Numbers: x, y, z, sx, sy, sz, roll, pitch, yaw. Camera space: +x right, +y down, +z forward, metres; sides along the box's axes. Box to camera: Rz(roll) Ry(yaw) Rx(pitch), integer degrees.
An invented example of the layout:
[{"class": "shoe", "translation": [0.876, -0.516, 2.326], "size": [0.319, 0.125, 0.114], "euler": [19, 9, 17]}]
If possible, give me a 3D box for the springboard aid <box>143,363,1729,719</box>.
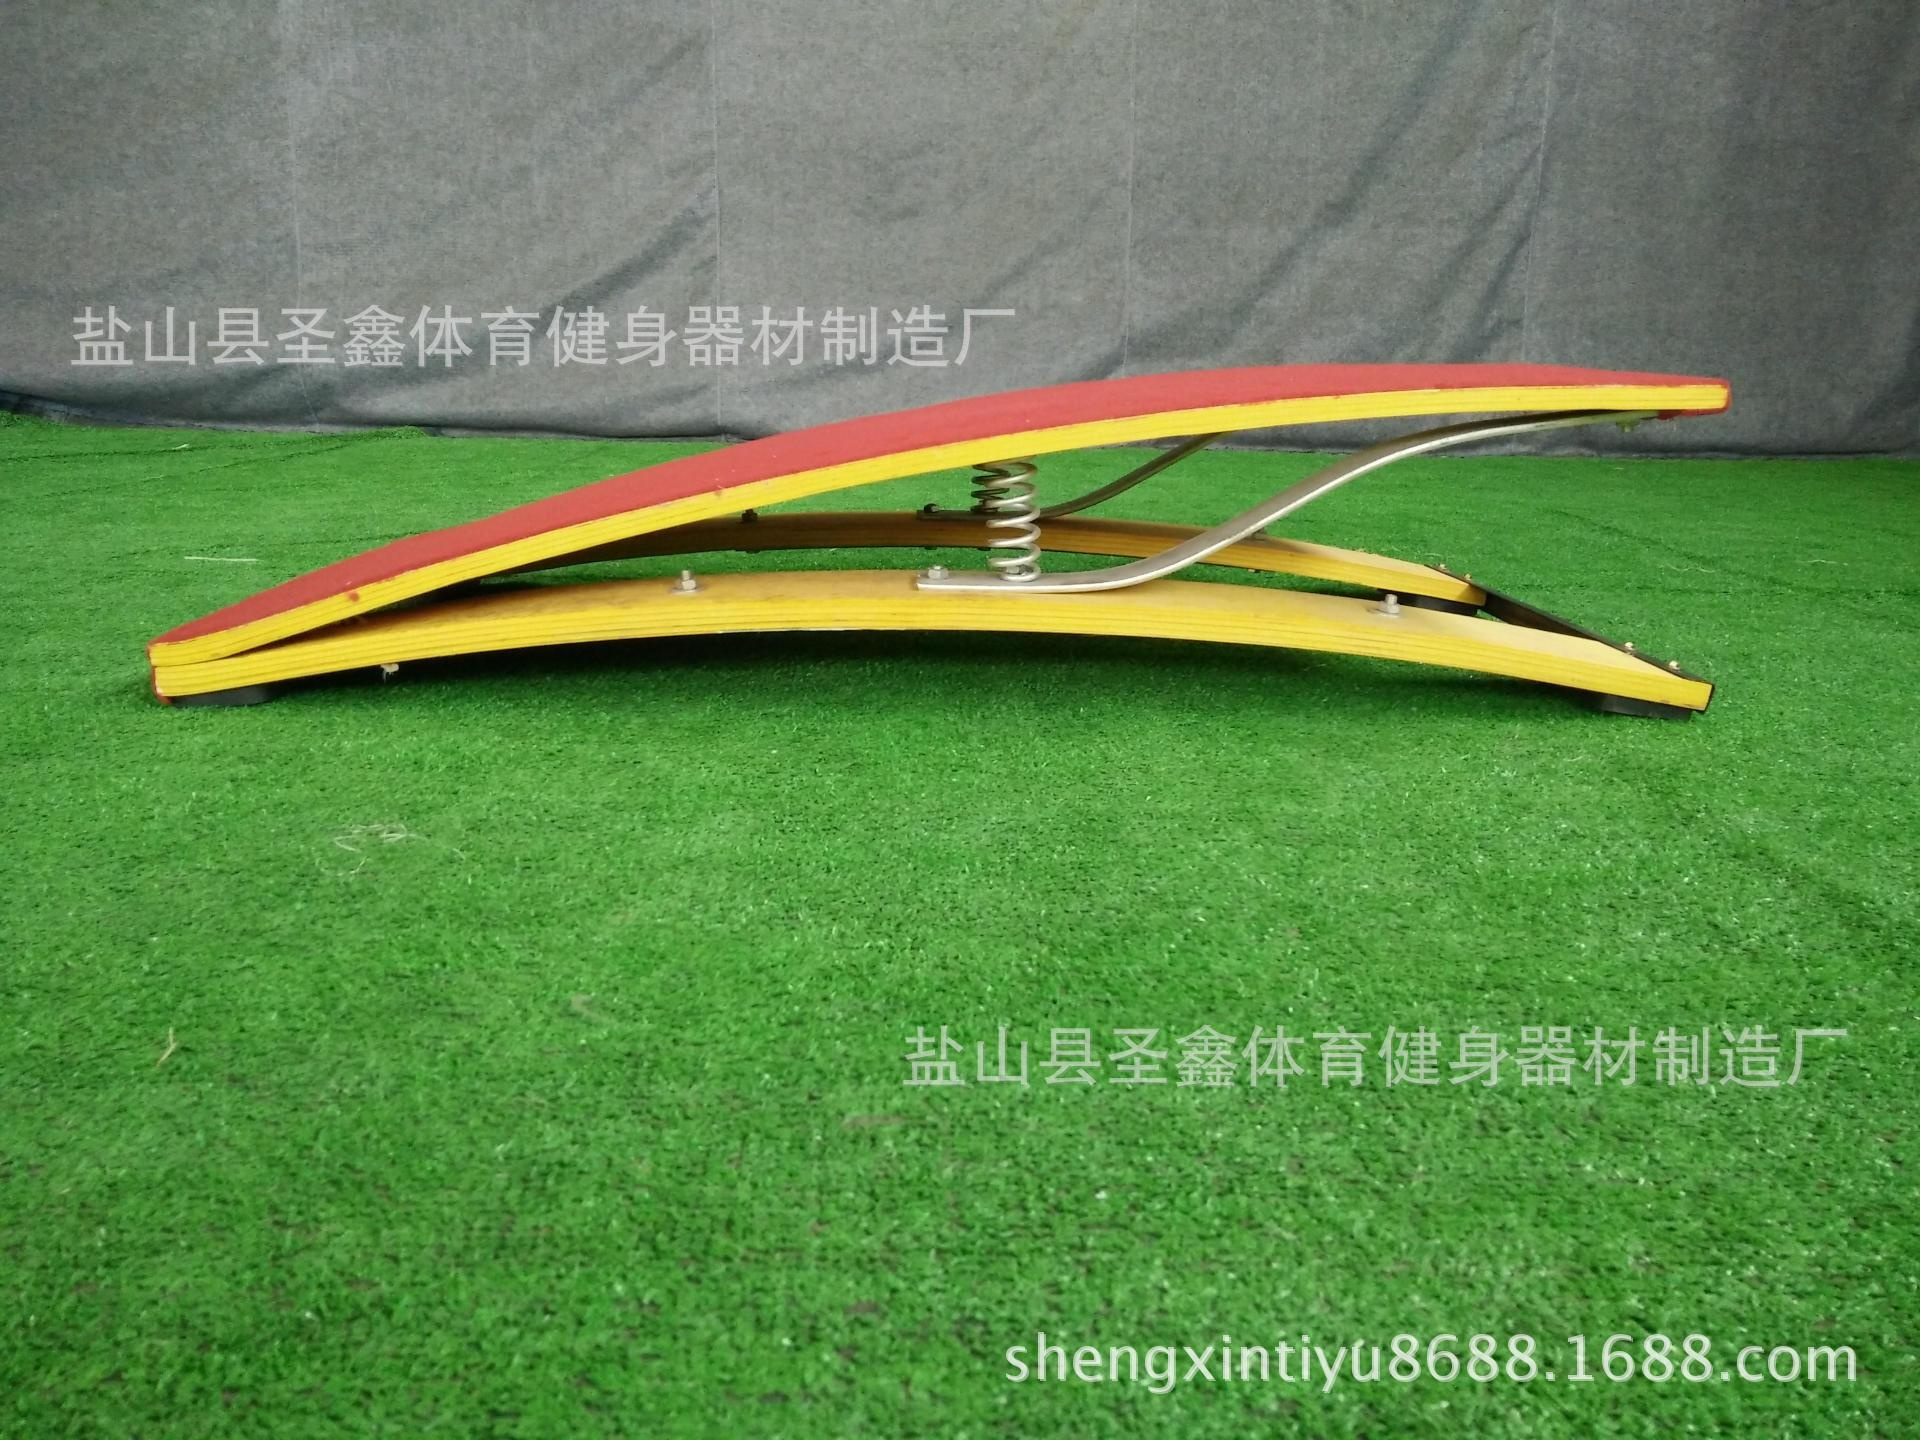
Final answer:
[{"class": "springboard aid", "translation": [-0.009, -0.277, 2.466], "size": [2.142, 0.489, 0.753], "euler": [-2, 17, 1]}]
